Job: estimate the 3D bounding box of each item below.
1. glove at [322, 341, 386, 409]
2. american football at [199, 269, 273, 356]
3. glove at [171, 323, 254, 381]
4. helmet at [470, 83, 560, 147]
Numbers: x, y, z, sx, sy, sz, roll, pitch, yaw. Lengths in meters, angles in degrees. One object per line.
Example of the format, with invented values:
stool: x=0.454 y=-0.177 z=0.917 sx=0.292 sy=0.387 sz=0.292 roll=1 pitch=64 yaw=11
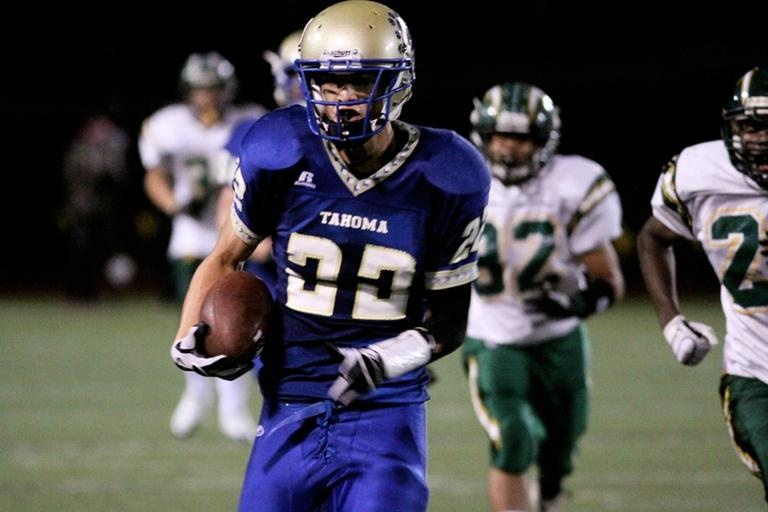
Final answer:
glove: x=-0.120 y=0.506 z=4.109 sx=0.171 sy=0.299 sz=0.124 roll=40 pitch=-10 yaw=2
american football: x=-0.636 y=0.266 z=4.343 sx=0.306 sy=0.362 sz=0.272 roll=32 pitch=-7 yaw=8
glove: x=-0.770 y=0.441 z=4.209 sx=0.313 sy=0.139 sz=0.235 roll=13 pitch=-12 yaw=12
helmet: x=0.828 y=-0.856 z=5.842 sx=0.489 sy=0.372 sz=0.380 roll=13 pitch=8 yaw=18
